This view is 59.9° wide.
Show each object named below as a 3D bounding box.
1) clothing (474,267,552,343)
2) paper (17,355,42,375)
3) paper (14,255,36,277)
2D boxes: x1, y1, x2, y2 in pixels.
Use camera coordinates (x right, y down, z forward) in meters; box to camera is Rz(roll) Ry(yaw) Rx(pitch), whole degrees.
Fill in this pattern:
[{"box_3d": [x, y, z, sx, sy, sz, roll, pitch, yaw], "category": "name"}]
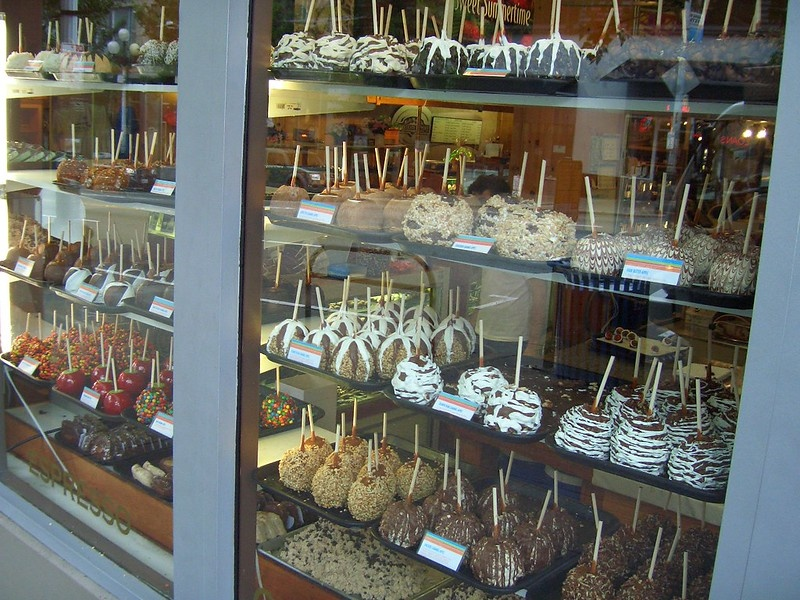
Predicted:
[{"box_3d": [0.302, 0.006, 1.908, 0.163, 0.163, 0.090, 11, 16, 24], "category": "clothing"}, {"box_3d": [-1.329, 0.232, 2.482, 0.057, 0.058, 0.014, 32, -23, 9], "category": "paper"}, {"box_3d": [-1.361, -0.122, 2.521, 0.062, 0.058, 0.008, 23, 5, 28], "category": "paper"}]
